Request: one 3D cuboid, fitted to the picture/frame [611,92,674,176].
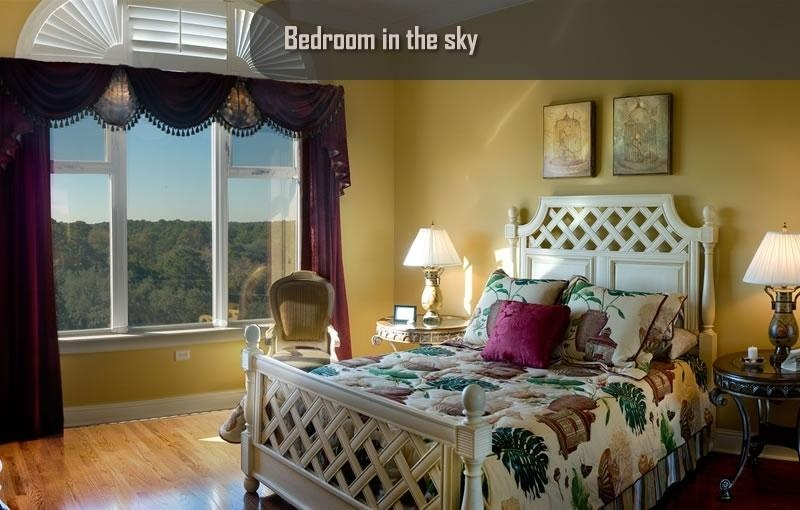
[{"bbox_3d":[2.075,-1.025,5.176,0.501,0.677,0.201,4,14,19],"label":"picture/frame"}]

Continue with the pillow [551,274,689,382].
[{"bbox_3d":[1.651,0.580,4.683,0.728,0.711,0.223,2,-39,29],"label":"pillow"}]

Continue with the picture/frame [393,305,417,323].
[{"bbox_3d":[0.043,0.570,5.870,0.267,0.232,0.137,2,1,11],"label":"picture/frame"}]

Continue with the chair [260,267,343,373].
[{"bbox_3d":[-0.915,0.720,5.587,0.716,1.037,0.631,0,6,-13],"label":"chair"}]

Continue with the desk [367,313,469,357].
[{"bbox_3d":[0.110,0.880,5.921,0.908,0.469,0.900,3,2,13],"label":"desk"}]
